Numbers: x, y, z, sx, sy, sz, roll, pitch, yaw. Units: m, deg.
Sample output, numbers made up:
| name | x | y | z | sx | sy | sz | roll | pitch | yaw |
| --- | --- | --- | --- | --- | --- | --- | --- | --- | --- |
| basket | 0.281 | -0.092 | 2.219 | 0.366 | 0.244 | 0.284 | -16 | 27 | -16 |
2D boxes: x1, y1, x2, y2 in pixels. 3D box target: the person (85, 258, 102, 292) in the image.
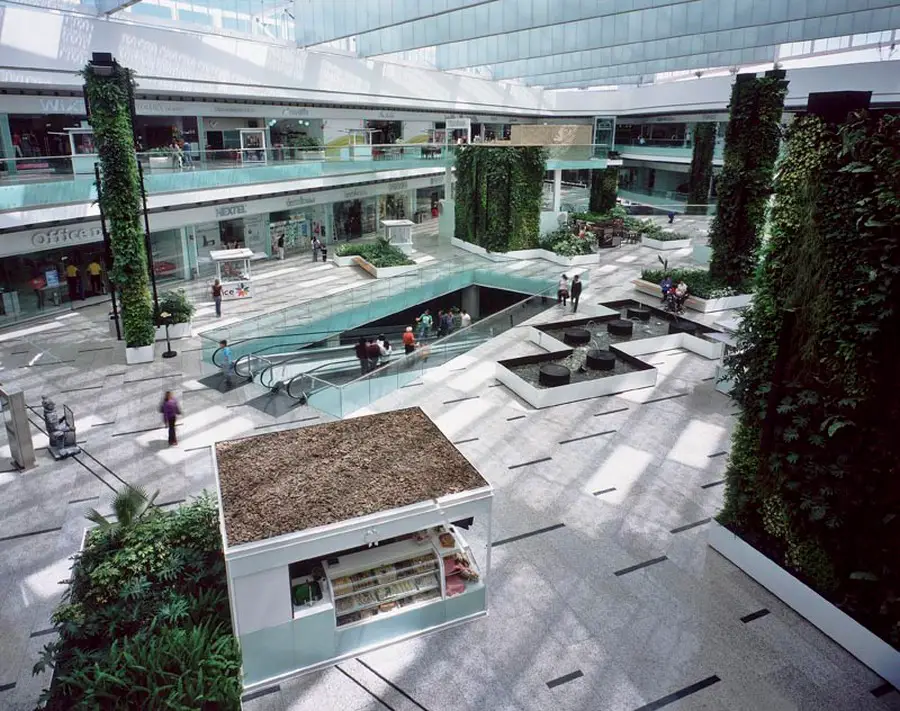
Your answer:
| name | x | y | z | sx | sy | sz | roll | pitch | yaw |
| --- | --- | --- | --- | --- | --- | --- | --- | --- | --- |
| person | -14.210 | -3.107 | 23.622 | 0.479 | 1.330 | 0.649 | -19 | 24 | -37 |

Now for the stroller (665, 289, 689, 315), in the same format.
| name | x | y | z | sx | sy | sz | roll | pitch | yaw |
| --- | --- | --- | --- | --- | --- | --- | --- | --- | --- |
| stroller | 8.754 | -2.109 | 22.424 | 0.689 | 0.647 | 1.212 | -7 | 24 | -5 |

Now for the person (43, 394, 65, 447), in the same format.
| name | x | y | z | sx | sy | sz | roll | pitch | yaw |
| --- | --- | --- | --- | --- | --- | --- | --- | --- | --- |
| person | -8.723 | 1.493 | 12.975 | 0.375 | 1.035 | 0.521 | -18 | 23 | -34 |

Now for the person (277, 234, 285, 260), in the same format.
| name | x | y | z | sx | sy | sz | roll | pitch | yaw |
| --- | --- | --- | --- | --- | --- | --- | --- | --- | --- |
| person | -9.112 | -5.901 | 31.712 | 0.364 | 1.292 | 1.451 | -7 | 18 | -8 |

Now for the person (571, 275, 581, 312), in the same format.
| name | x | y | z | sx | sy | sz | roll | pitch | yaw |
| --- | --- | --- | --- | --- | --- | --- | --- | --- | --- |
| person | 4.834 | -2.388 | 22.497 | 0.314 | 1.303 | 0.765 | -2 | 18 | 7 |

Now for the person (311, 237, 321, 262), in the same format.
| name | x | y | z | sx | sy | sz | roll | pitch | yaw |
| --- | --- | --- | --- | --- | --- | --- | --- | --- | --- |
| person | -7.124 | -5.725 | 31.274 | 0.448 | 1.327 | 1.300 | -8 | 18 | -11 |

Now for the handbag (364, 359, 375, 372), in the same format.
| name | x | y | z | sx | sy | sz | roll | pitch | yaw |
| --- | --- | --- | --- | --- | --- | --- | --- | --- | --- |
| handbag | -2.484 | 0.303 | 18.447 | 0.410 | 0.342 | 0.096 | 5 | -17 | 38 |
